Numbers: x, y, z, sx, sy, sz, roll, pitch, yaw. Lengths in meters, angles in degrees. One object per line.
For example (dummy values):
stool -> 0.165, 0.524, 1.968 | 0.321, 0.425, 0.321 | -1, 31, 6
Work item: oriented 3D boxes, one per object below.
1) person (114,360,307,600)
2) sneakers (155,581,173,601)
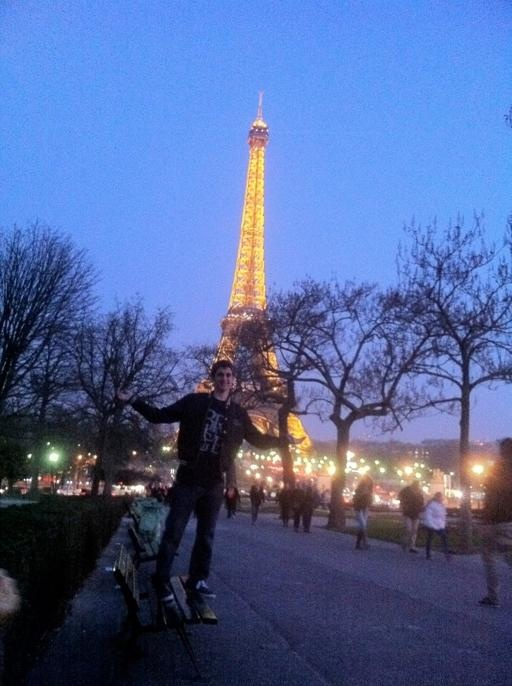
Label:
person -> -0.477, 1.108, 4.353 | 0.579, 1.965, 1.330 | -1, -10, 32
sneakers -> -0.602, 1.659, 3.565 | 0.079, 0.130, 0.169 | 1, -7, -22
